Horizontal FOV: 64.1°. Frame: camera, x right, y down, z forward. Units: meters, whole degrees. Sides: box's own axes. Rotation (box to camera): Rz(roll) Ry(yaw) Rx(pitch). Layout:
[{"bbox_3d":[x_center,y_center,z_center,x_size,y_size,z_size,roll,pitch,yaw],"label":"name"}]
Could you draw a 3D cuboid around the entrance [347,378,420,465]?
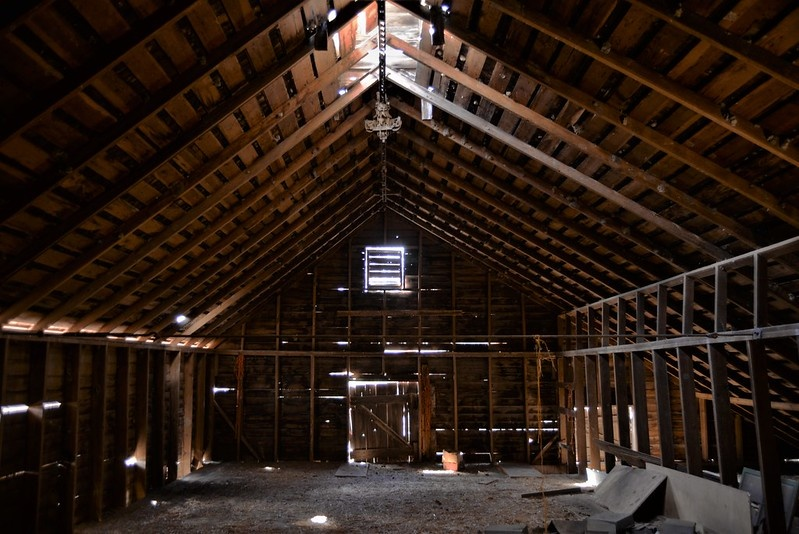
[{"bbox_3d":[-0.374,3.489,14.018,2.010,1.840,0.210,0,-19,-4],"label":"entrance"}]
